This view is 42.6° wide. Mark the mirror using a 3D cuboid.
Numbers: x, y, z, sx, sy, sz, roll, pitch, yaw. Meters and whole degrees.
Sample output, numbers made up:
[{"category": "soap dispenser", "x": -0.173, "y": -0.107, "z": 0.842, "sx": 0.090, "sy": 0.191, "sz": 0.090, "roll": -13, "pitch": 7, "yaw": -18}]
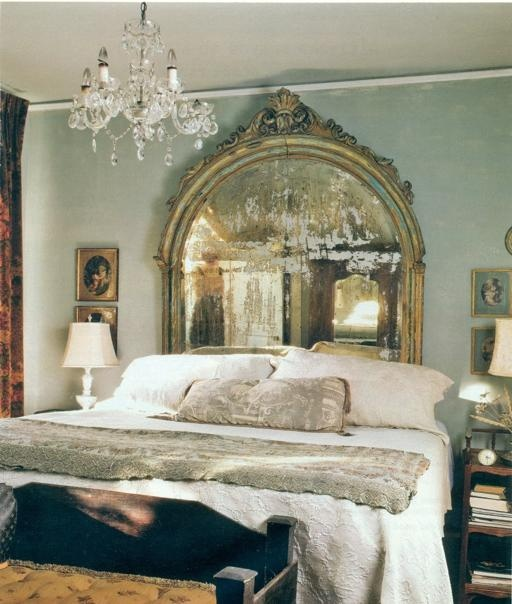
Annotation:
[{"category": "mirror", "x": 0.254, "y": -0.417, "z": 3.841, "sx": 1.871, "sy": 1.835, "sz": 0.098, "roll": 0, "pitch": -1, "yaw": 13}]

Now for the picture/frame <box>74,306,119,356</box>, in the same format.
[{"category": "picture/frame", "x": -1.011, "y": 0.191, "z": 4.171, "sx": 0.334, "sy": 0.355, "sz": 0.017, "roll": -4, "pitch": -8, "yaw": 18}]

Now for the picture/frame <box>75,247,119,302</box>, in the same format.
[{"category": "picture/frame", "x": -1.050, "y": -0.183, "z": 4.360, "sx": 0.395, "sy": 0.409, "sz": 0.025, "roll": 0, "pitch": -2, "yaw": 15}]
